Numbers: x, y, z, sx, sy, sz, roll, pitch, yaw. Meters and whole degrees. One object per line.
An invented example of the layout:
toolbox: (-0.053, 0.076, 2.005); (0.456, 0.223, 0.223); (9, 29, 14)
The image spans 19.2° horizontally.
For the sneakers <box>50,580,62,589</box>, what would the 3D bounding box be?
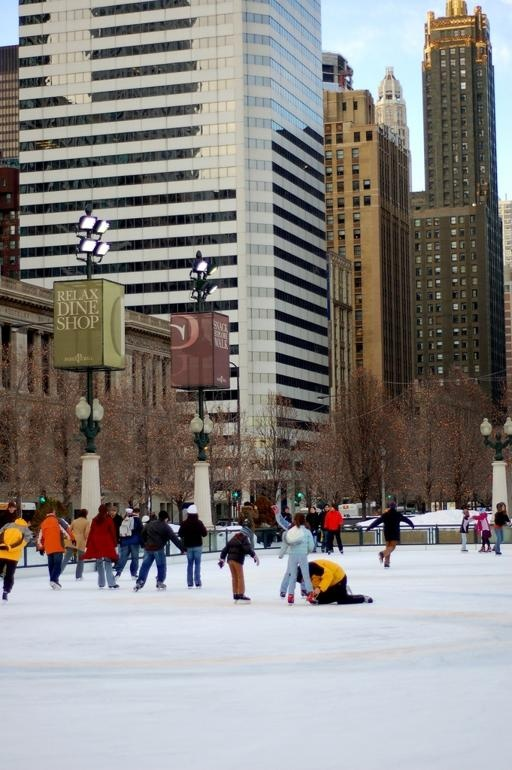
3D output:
sneakers: (-3.694, 3.654, 27.970); (0.091, 0.125, 0.250); (0, -11, 12)

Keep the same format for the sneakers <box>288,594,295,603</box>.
sneakers: (0.555, 3.146, 22.493); (0.072, 0.146, 0.124); (2, -9, -2)

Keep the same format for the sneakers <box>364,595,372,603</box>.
sneakers: (1.694, 3.135, 22.403); (0.105, 0.084, 0.069); (8, 2, 35)

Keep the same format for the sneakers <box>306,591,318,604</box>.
sneakers: (0.853, 3.149, 22.629); (0.132, 0.172, 0.408); (0, -6, -13)

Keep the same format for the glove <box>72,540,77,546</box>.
glove: (-3.543, 3.075, 29.646); (0.032, 0.150, 0.085); (-1, 2, -34)

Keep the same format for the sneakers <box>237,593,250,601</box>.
sneakers: (-0.151, 3.220, 23.287); (0.217, 0.126, 0.083); (-1, -2, 25)

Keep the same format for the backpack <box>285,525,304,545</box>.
backpack: (0.574, 2.153, 21.954); (0.222, 0.258, 0.435); (3, -7, -40)
